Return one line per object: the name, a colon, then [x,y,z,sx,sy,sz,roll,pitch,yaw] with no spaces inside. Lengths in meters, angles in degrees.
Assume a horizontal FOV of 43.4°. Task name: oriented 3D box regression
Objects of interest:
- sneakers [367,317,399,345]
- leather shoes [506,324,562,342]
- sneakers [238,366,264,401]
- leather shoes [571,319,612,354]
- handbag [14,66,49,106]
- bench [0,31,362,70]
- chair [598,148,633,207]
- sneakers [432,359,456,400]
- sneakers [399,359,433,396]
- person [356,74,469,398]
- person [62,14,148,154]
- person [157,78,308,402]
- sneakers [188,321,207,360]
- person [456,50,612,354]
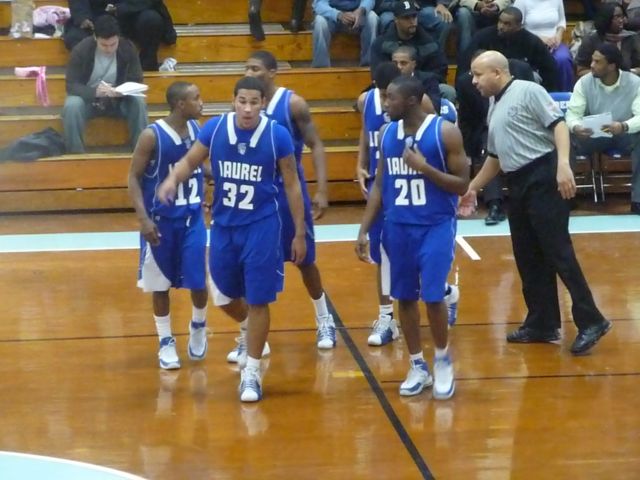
sneakers: [0.472,0.663,6.023,0.150,0.200,0.451,4,7,26]
leather shoes: [1.564,0.695,5.967,0.397,0.180,0.147,2,5,1]
sneakers: [-0.451,0.910,5.191,0.150,0.210,0.233,-2,9,-5]
leather shoes: [1.915,0.674,5.661,0.314,0.246,0.165,-7,11,-31]
handbag: [-3.471,-1.904,9.913,0.358,0.496,0.597,-10,13,-43]
bench: [-1.400,-2.540,11.477,3.931,0.604,0.829,0,-3,-6]
chair: [3.608,-0.761,9.664,0.461,0.645,0.680,-1,9,7]
sneakers: [0.780,0.881,5.107,0.099,0.130,0.294,-1,28,7]
sneakers: [0.611,0.869,5.232,0.109,0.230,0.328,-3,10,38]
person: [0.587,-0.024,5.174,0.679,2.023,0.390,4,10,32]
person: [-2.559,-1.767,9.441,1.036,1.650,1.125,-13,23,-42]
person: [-0.520,-0.017,5.218,0.836,2.030,0.570,-2,9,-2]
sneakers: [-0.875,0.697,5.732,0.102,0.303,0.115,-4,11,-13]
person: [1.533,-0.264,5.679,0.920,2.107,0.437,2,9,20]
